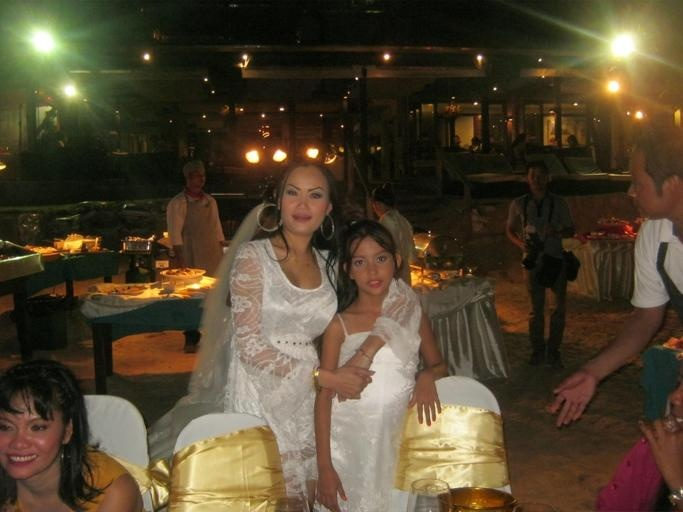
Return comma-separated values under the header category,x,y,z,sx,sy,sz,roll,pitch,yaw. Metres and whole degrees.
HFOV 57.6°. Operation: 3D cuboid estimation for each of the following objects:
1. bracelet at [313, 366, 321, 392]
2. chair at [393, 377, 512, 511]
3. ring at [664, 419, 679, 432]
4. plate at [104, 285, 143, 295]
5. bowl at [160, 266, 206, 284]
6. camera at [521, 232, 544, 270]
category,x,y,z,sx,sy,sz,roll,pitch,yaw
bracelet,-0.129,0.607,3.101,0.041,0.083,0.060,3,-5,-3
chair,0.522,0.920,3.171,0.589,0.791,0.584,-1,-8,7
ring,1.439,0.734,2.712,0.043,0.042,0.012,-21,1,13
plate,-2.150,0.320,6.200,0.358,0.019,0.497,-5,12,-19
bowl,-1.616,0.199,6.308,0.409,0.105,0.387,-1,11,0
camera,2.143,-0.058,6.910,0.244,0.325,0.129,35,3,43
